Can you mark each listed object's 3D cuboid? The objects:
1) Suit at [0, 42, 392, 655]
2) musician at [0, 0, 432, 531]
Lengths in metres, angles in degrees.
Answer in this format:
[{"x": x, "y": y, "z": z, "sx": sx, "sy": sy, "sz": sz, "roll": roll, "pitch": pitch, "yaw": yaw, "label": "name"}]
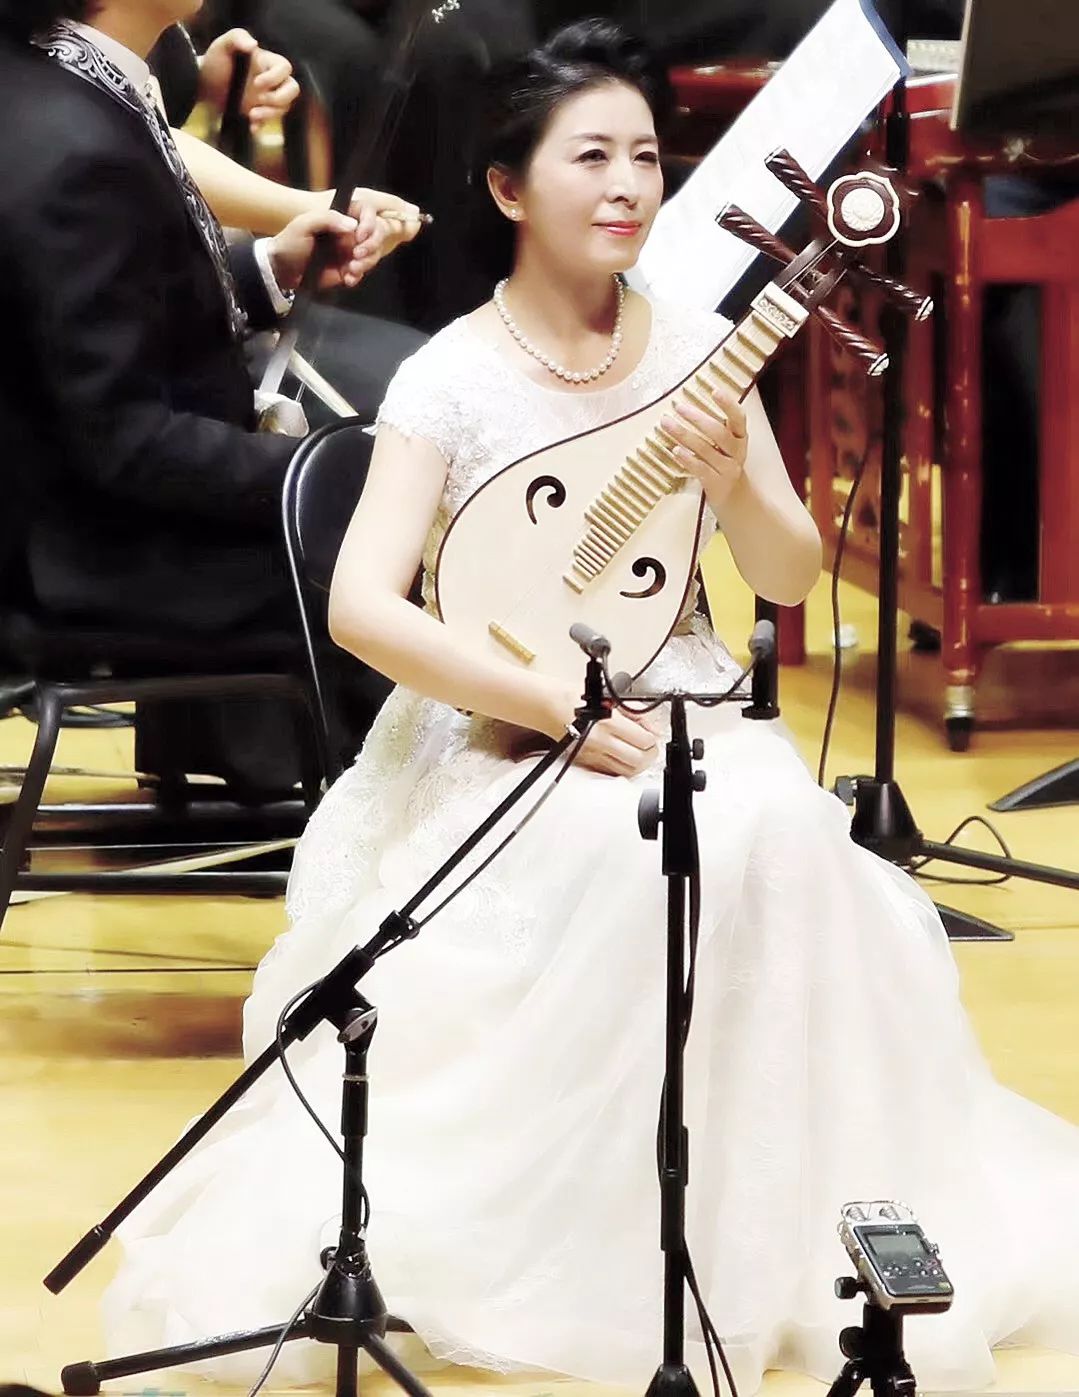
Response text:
[{"x": -0.428, "y": -0.348, "z": 1.713, "sx": 0.338, "sy": 0.636, "sz": 0.104, "roll": -5, "pitch": 24, "yaw": -38, "label": "Suit"}, {"x": -0.373, "y": -0.404, "z": 1.606, "sx": 0.299, "sy": 0.529, "sz": 0.124, "roll": -18, "pitch": 32, "yaw": -28, "label": "musician"}]
